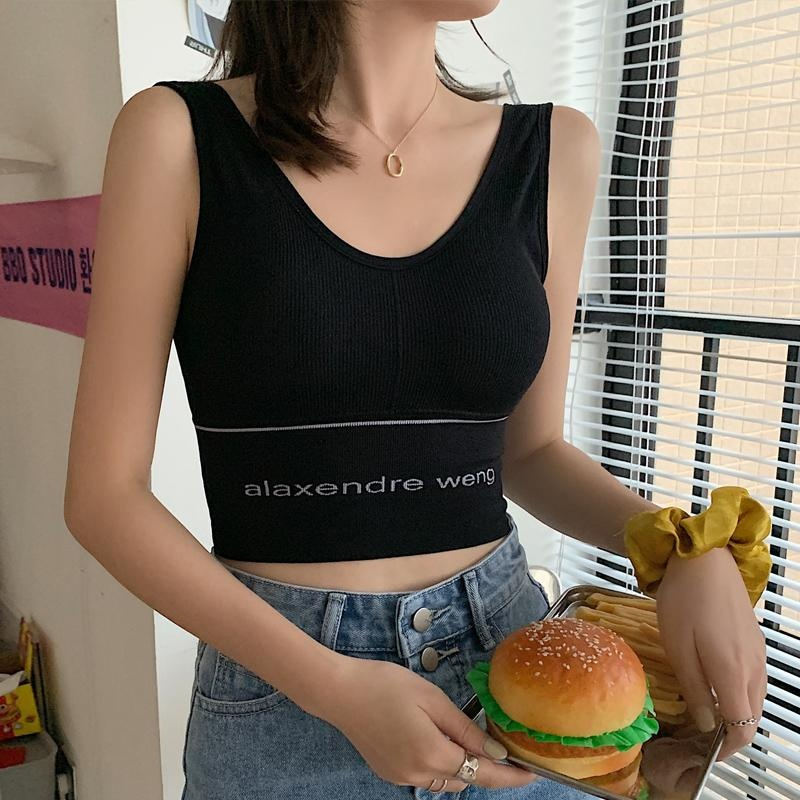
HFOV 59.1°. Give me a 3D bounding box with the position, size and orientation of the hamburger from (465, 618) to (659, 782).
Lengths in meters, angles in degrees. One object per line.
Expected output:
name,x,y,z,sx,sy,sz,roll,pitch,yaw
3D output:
hamburger,0.134,0.232,0.564,0.105,0.055,0.106,-20,31,-31

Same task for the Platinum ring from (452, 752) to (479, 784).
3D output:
Platinum ring,0.051,0.280,0.525,0.017,0.039,0.016,-3,23,1

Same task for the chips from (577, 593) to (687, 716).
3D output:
chips,0.213,0.231,0.653,0.081,0.026,0.059,13,15,7

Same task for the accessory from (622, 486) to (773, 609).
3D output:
accessory,0.280,0.154,0.689,0.132,0.116,0.074,1,-19,-6
